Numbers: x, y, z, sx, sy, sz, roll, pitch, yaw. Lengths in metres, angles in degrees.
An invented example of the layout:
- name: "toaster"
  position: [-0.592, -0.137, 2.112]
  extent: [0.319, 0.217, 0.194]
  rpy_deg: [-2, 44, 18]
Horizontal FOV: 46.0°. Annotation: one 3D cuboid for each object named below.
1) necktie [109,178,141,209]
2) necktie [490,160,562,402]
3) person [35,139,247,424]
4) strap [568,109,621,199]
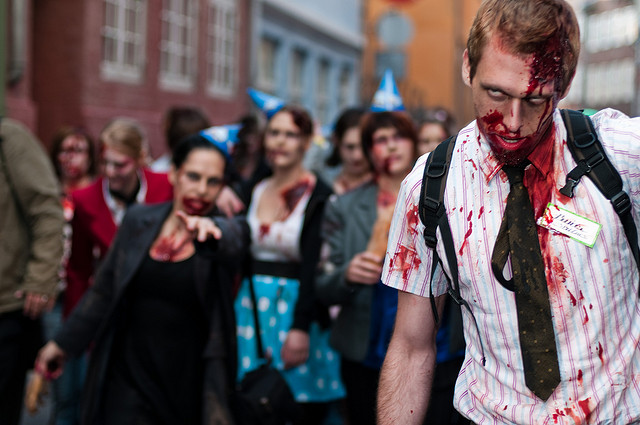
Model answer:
- name: "necktie"
  position: [-1.077, -0.104, 4.167]
  extent: [0.171, 0.142, 0.138]
  rpy_deg: [-2, 11, -17]
- name: "necktie"
  position: [0.822, 0.295, 2.984]
  extent: [0.225, 1.001, 0.029]
  rpy_deg: [8, 2, 21]
- name: "person"
  position: [-0.901, 0.358, 3.991]
  extent: [1.020, 1.455, 0.448]
  rpy_deg: [-1, 10, -8]
- name: "strap"
  position: [1.072, -0.228, 2.967]
  extent: [0.091, 0.317, 0.232]
  rpy_deg: [-5, 12, -29]
